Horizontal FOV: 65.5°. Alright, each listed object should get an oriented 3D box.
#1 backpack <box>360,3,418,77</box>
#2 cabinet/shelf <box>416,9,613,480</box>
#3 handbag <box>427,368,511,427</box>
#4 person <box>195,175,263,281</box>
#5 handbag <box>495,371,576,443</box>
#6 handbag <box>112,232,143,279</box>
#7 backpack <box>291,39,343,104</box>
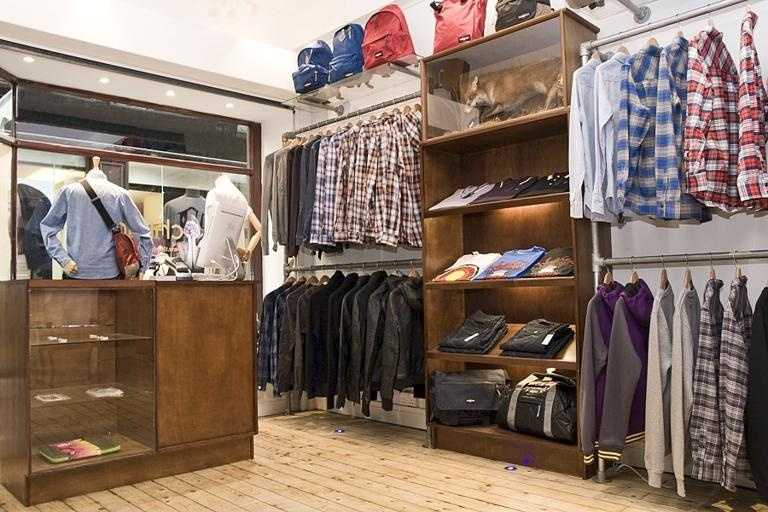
[{"bbox_3d":[0.039,-1.976,5.461,0.498,0.467,0.264,-1,1,3],"label":"backpack"},{"bbox_3d":[0.970,-0.109,4.806,1.383,2.387,0.628,0,1,34],"label":"cabinet/shelf"},{"bbox_3d":[0.732,1.155,4.964,0.634,0.425,0.478,-1,4,14],"label":"handbag"},{"bbox_3d":[-1.331,-0.274,5.110,0.507,0.763,1.111,-1,1,-12],"label":"person"},{"bbox_3d":[1.235,1.150,4.618,0.407,0.490,0.748,9,-9,-29],"label":"handbag"},{"bbox_3d":[-2.047,0.004,4.786,0.202,0.374,0.265,-16,1,-7],"label":"handbag"},{"bbox_3d":[-0.724,-1.904,6.114,0.332,0.546,0.431,-10,8,-35],"label":"backpack"}]
